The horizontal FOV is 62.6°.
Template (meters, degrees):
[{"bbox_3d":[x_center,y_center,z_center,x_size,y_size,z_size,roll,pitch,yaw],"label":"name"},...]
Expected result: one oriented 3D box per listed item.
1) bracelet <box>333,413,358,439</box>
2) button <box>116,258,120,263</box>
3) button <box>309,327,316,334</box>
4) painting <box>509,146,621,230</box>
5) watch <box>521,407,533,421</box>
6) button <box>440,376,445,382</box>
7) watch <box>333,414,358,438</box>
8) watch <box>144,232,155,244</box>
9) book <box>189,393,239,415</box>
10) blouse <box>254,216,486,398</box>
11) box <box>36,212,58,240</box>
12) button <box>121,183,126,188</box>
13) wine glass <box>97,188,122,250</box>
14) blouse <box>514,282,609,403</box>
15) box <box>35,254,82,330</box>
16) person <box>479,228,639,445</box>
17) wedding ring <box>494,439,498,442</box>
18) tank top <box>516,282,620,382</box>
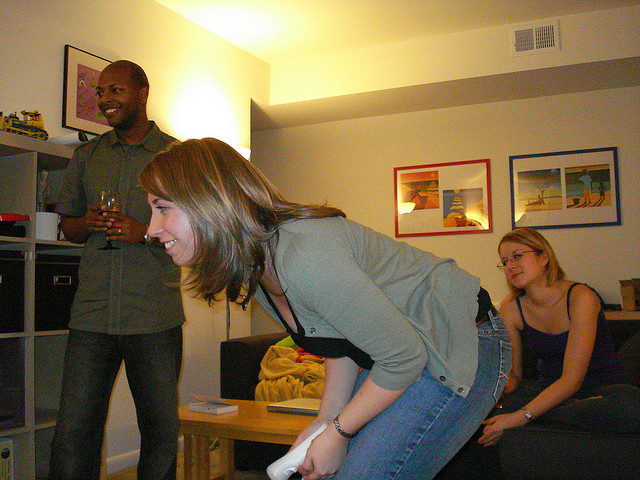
[{"bbox_3d":[0.073,0.494,1.404,0.061,0.058,0.016,14,-12,-31],"label":"bracelet"},{"bbox_3d":[-0.851,0.087,2.220,0.013,0.018,0.005,-1,3,-21],"label":"button"},{"bbox_3d":[-0.018,0.253,1.471,0.017,0.020,0.005,-1,-2,1],"label":"button"},{"bbox_3d":[2.167,-0.452,4.663,0.900,0.710,0.113,1,3,16],"label":"painting"},{"bbox_3d":[0.894,0.751,2.261,0.024,0.039,0.039,-27,-6,-8],"label":"watch"},{"bbox_3d":[0.340,0.383,1.452,0.013,0.013,0.003,-7,-10,4],"label":"button"},{"bbox_3d":[0.067,0.500,1.404,0.059,0.060,0.026,0,3,0],"label":"watch"},{"bbox_3d":[-0.632,-0.009,1.948,0.047,0.042,0.045,4,-3,-5],"label":"watch"},{"bbox_3d":[-0.574,0.920,2.919,0.152,0.060,0.153,0,-5,30],"label":"book"},{"bbox_3d":[0.133,0.205,1.586,0.477,0.530,0.533,6,1,-9],"label":"blouse"},{"bbox_3d":[-1.330,-0.070,2.565,0.119,0.130,0.119,1,0,11],"label":"box"},{"bbox_3d":[-0.855,-0.236,2.286,0.018,0.017,0.004,1,-6,-7],"label":"button"},{"bbox_3d":[-0.884,-0.091,2.217,0.093,0.260,0.137,-1,3,-18],"label":"wine glass"},{"bbox_3d":[1.191,0.504,2.592,0.409,0.523,0.280,-16,-27,41],"label":"blouse"},{"bbox_3d":[-1.372,0.287,2.603,0.251,0.328,0.344,-4,-6,18],"label":"box"},{"bbox_3d":[1.283,0.482,2.701,0.472,0.701,0.637,22,-38,-25],"label":"person"},{"bbox_3d":[0.739,0.837,2.193,0.015,0.008,0.004,-2,0,-30],"label":"wedding ring"},{"bbox_3d":[1.252,0.470,2.665,0.486,0.509,0.302,1,3,21],"label":"tank top"}]
